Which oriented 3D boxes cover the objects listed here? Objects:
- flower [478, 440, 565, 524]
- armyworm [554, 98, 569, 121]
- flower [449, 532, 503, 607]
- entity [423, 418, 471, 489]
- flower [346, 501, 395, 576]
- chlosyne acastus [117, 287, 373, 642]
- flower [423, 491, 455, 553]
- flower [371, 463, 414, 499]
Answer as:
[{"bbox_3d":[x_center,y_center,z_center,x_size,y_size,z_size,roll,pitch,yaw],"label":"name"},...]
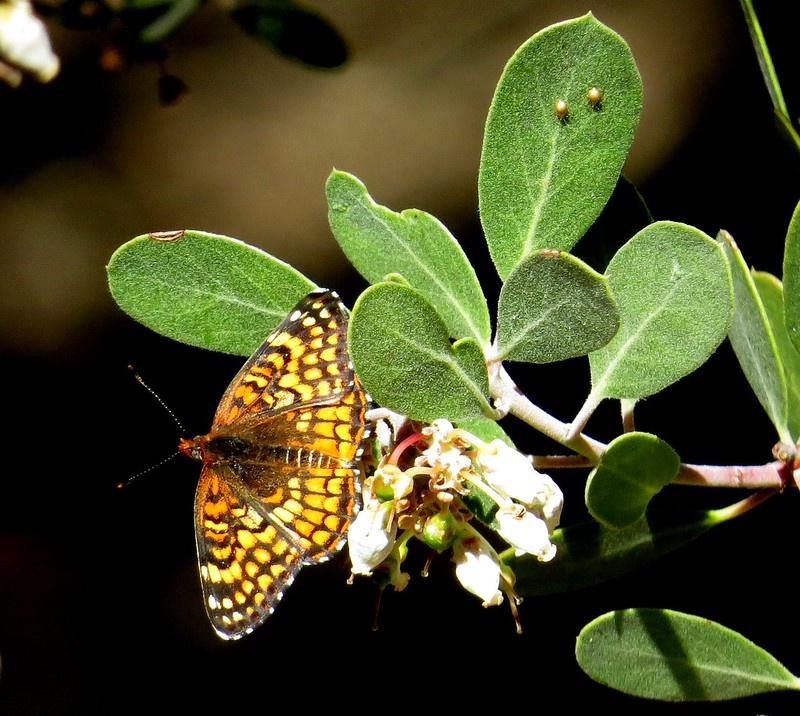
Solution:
[{"bbox_3d":[0.143,0.151,1.279,0.114,0.046,0.076,44,84,5],"label":"flower"},{"bbox_3d":[0.208,-0.320,1.350,0.020,0.020,0.013,16,55,6],"label":"armyworm"},{"bbox_3d":[0.097,0.271,1.329,0.060,0.030,0.091,-2,66,-17],"label":"flower"},{"bbox_3d":[0.055,0.123,1.279,0.052,0.021,0.090,-5,99,-7],"label":"entity"},{"bbox_3d":[-0.038,0.229,1.304,0.044,0.030,0.103,22,81,-6],"label":"flower"},{"bbox_3d":[-0.177,0.157,1.508,0.267,0.460,0.300,-9,55,-11],"label":"chlosyne acastus"},{"bbox_3d":[0.049,0.209,1.317,0.044,0.099,0.062,2,54,-3],"label":"flower"},{"bbox_3d":[-0.010,0.157,1.283,0.044,0.021,0.037,-26,62,-5],"label":"flower"}]
